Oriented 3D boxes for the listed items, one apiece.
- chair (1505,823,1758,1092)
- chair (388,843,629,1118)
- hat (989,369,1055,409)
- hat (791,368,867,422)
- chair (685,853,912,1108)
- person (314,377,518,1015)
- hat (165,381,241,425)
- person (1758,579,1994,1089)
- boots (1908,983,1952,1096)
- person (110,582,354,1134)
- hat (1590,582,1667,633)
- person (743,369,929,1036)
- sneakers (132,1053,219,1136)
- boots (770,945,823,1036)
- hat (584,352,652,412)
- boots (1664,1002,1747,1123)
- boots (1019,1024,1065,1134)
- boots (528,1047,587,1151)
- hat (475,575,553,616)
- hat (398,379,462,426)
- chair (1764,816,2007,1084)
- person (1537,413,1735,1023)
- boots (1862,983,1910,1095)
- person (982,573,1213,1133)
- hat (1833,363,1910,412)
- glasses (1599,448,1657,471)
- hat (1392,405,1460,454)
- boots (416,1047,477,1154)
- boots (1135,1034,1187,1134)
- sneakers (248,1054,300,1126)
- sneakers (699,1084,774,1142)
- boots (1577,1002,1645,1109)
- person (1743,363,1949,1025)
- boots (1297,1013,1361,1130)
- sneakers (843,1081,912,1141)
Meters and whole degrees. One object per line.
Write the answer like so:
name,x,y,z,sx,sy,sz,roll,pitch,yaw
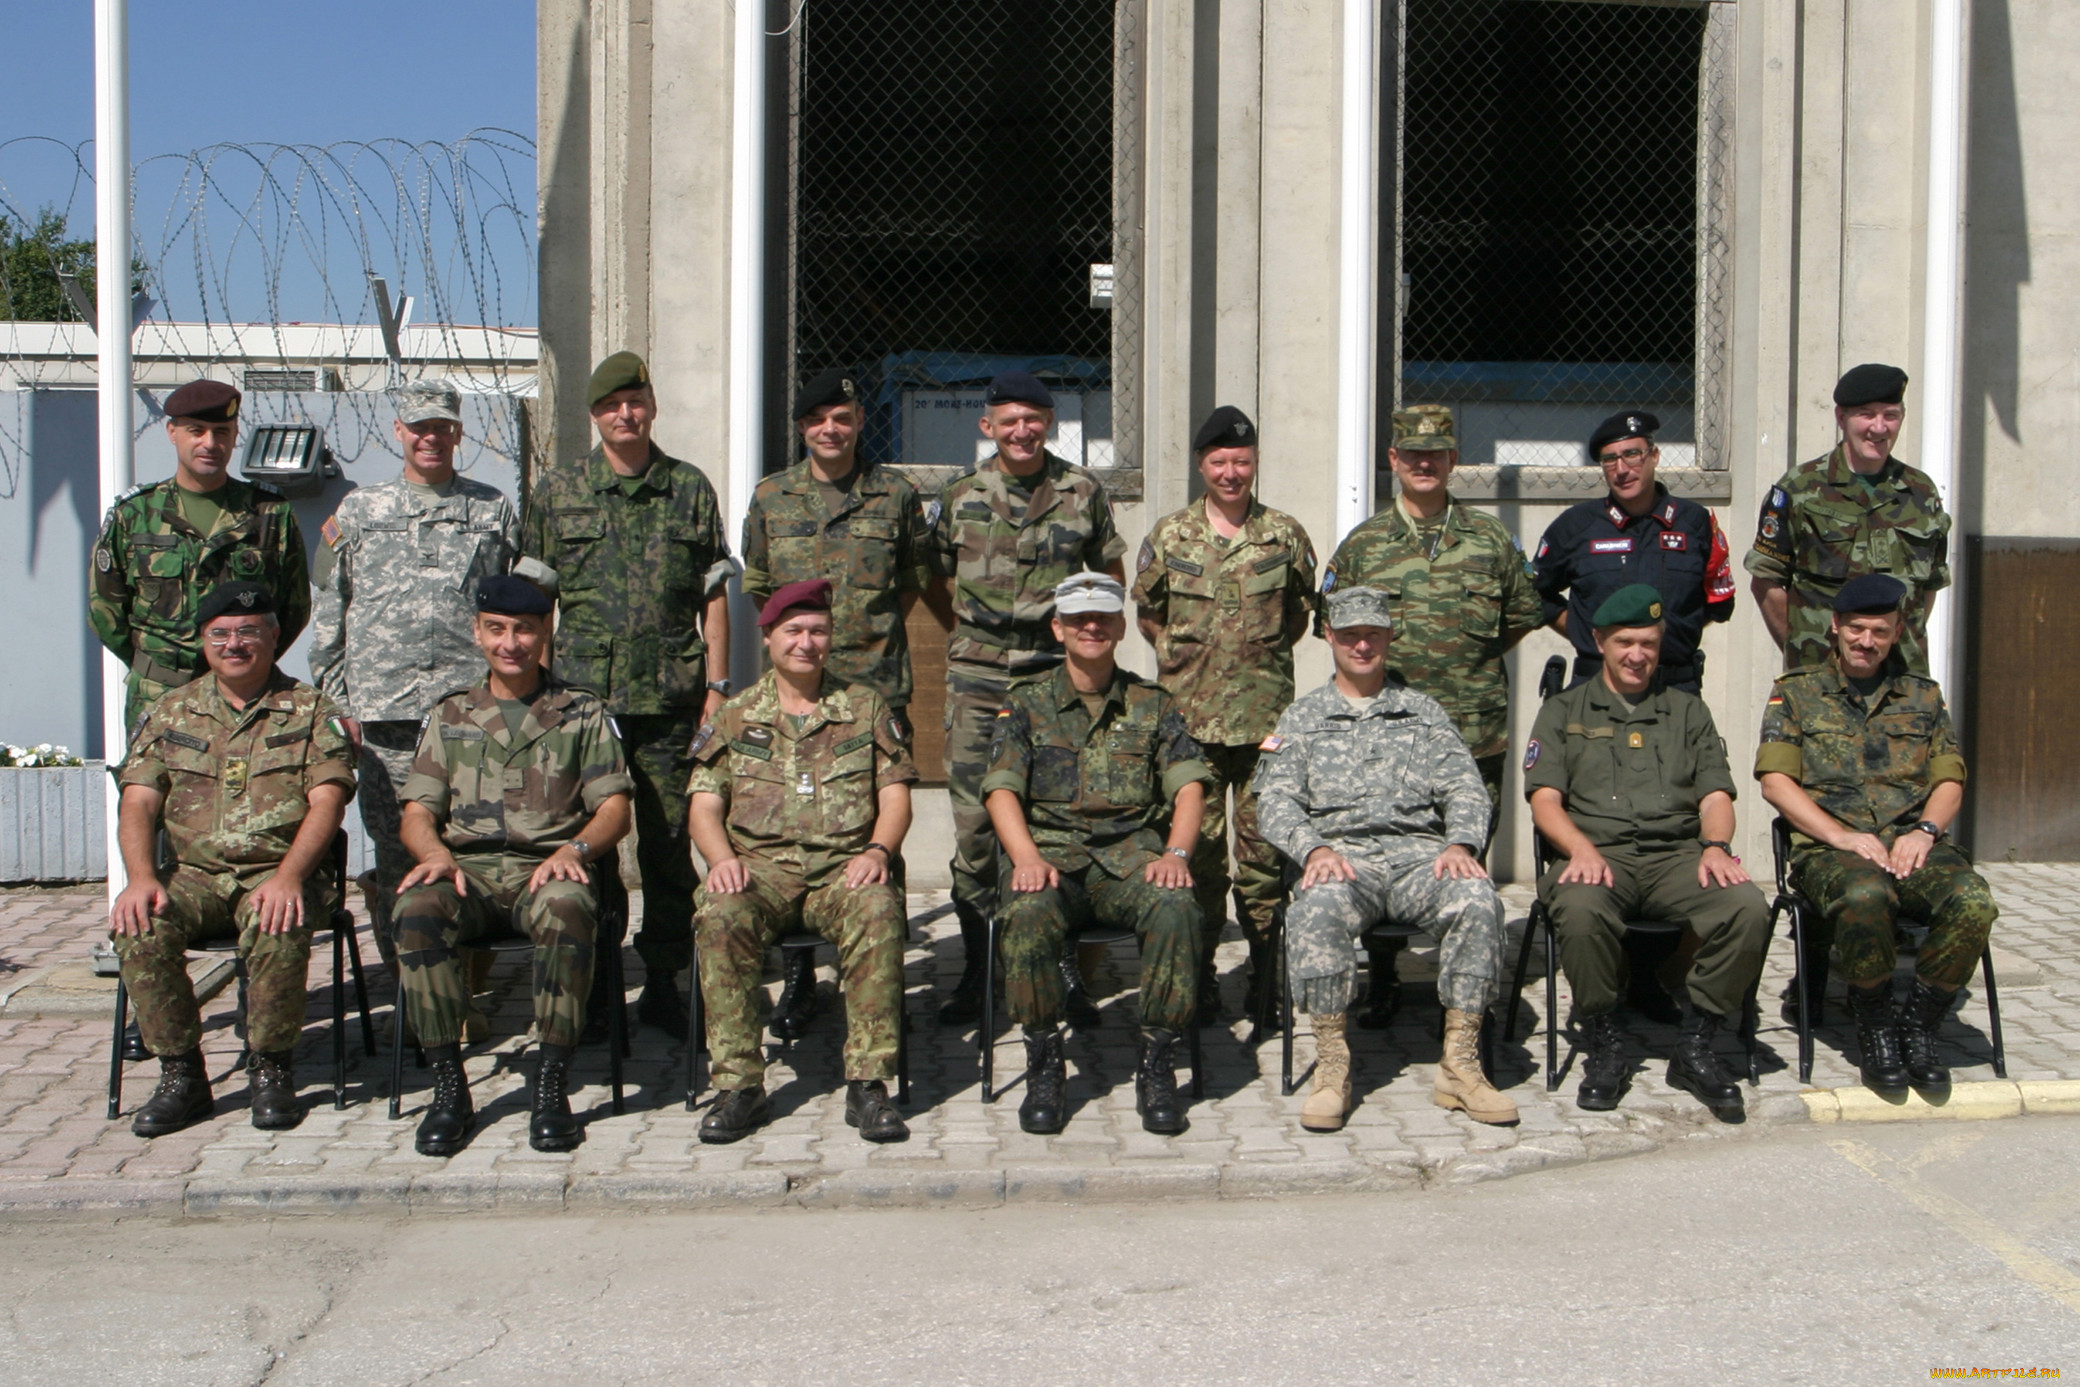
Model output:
chair,2.695,1.235,12.403,1.099,1.439,1.063,0,-21,11
chair,-2.419,0.960,12.429,0.984,0.554,1.679,-1,8,-15
hat,-0.090,-1.410,13.045,0.362,0.152,0.453,2,11,-2
hat,-0.969,-1.372,12.844,0.250,0.224,0.395,0,16,1
chair,-1.059,1.185,12.161,0.948,0.877,1.233,-2,6,-15
person,-2.794,-0.070,12.786,0.940,2.593,0.736,-3,19,-17
hat,-3.719,-1.282,12.391,0.242,0.087,0.208,2,12,20
person,3.627,0.599,12.247,0.892,2.067,1.140,0,15,1
boots,3.820,1.513,12.051,0.193,0.423,0.251,4,16,16
person,-3.440,0.664,11.962,1.044,2.100,0.955,-5,16,-16
hat,2.600,-0.375,12.354,0.252,0.093,0.221,2,11,34
person,-0.937,0.014,12.837,1.034,2.906,0.850,1,-4,2
sneakers,-3.641,1.678,11.759,0.249,0.270,0.356,3,16,12
boots,-1.146,1.361,12.875,0.167,0.374,0.421,6,15,21
hat,-1.893,-1.401,12.591,0.265,0.232,0.212,-3,16,-8
boots,2.873,1.574,12.023,0.165,0.384,0.500,2,11,-20
boots,0.006,1.642,11.890,0.204,0.347,0.535,0,17,5
boots,-2.018,1.671,11.636,0.226,0.364,0.368,-3,16,-10
hat,-2.259,-0.419,12.067,0.330,0.181,0.249,-4,16,-12
hat,-2.728,-1.294,12.521,0.279,0.219,0.222,-7,17,-21
chair,3.795,1.051,12.586,1.023,1.365,1.056,-1,-7,-4
person,2.761,0.075,13.138,1.031,2.762,0.965,-1,0,9
boots,3.647,1.503,12.081,0.194,0.421,0.338,3,16,12
person,0.236,0.628,12.079,0.969,2.123,1.095,0,15,3
hat,3.838,-1.411,12.970,0.284,0.223,0.292,4,16,14
glasses,2.749,-1.078,12.970,0.135,0.059,0.153,-5,-5,36
hat,1.755,-1.217,12.833,0.261,0.223,0.325,0,16,2
boots,-2.485,1.715,11.638,0.181,0.343,0.502,-4,9,3
boots,0.499,1.632,11.846,0.184,0.332,0.518,-4,20,-7
sneakers,-3.220,1.666,11.801,0.212,0.265,0.300,-5,16,-16
sneakers,-1.277,1.748,11.666,0.286,0.196,0.218,-2,16,-4
boots,2.428,1.550,12.015,0.178,0.386,0.415,4,28,35
person,3.863,-0.435,13.197,1.059,2.135,0.585,-2,2,-6
boots,1.213,1.593,11.856,0.230,0.457,0.662,1,13,11
sneakers,-0.681,1.729,11.691,0.261,0.214,0.303,-2,16,-4
